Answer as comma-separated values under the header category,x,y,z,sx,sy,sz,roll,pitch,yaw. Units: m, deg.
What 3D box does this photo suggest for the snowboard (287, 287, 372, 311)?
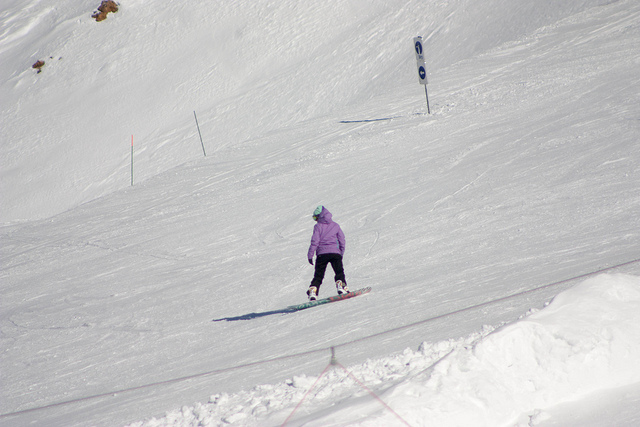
category,x,y,z,sx,sy,sz,roll,pitch,yaw
snowboard,0.344,2.528,28.753,2.425,0.278,0.184,-12,13,1

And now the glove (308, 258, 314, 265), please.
category,x,y,z,sx,sy,sz,roll,pitch,yaw
glove,-0.259,1.411,28.673,0.193,0.167,0.179,-3,15,-9
